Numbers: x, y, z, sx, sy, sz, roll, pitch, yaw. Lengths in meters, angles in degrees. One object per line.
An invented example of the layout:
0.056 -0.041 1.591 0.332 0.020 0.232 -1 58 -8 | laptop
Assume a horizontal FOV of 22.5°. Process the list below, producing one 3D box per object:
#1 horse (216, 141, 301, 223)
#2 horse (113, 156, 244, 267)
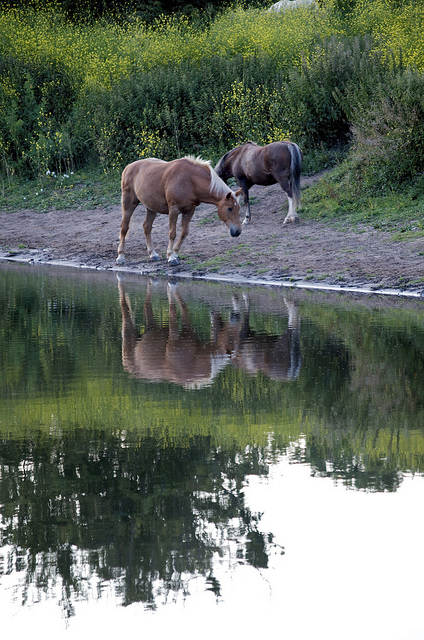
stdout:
0.738 -2.407 18.936 2.060 1.563 0.488 -1 5 42 | horse
-0.601 -1.678 16.665 2.180 1.846 0.634 8 18 25 | horse
